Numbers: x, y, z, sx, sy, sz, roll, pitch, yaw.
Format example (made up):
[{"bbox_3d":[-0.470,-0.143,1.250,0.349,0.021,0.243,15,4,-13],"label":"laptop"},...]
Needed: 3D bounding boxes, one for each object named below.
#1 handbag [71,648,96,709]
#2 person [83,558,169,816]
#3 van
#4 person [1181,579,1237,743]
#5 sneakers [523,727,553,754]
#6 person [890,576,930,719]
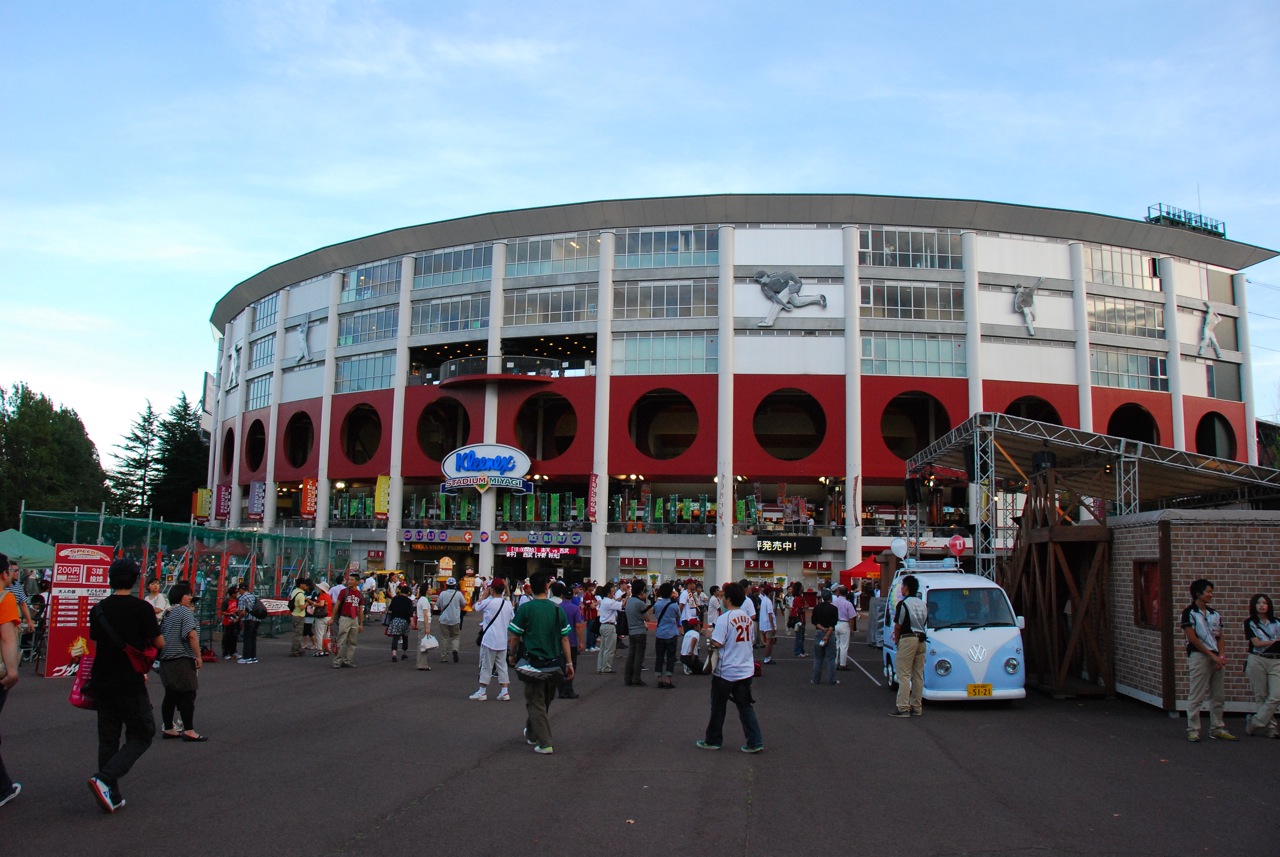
[{"bbox_3d":[-6.630,2.957,10.891,0.218,0.687,0.373,5,-9,-30],"label":"handbag"},{"bbox_3d":[-6.140,2.963,10.832,0.762,2.835,0.584,4,-9,-25],"label":"person"},{"bbox_3d":[6.754,4.227,19.853,2.262,2.758,4.478,-2,-6,4],"label":"van"},{"bbox_3d":[8.892,3.623,14.481,0.776,2.458,0.522,6,-10,-34],"label":"person"},{"bbox_3d":[-1.509,4.563,13.450,0.190,0.231,0.502,4,0,-34],"label":"sneakers"},{"bbox_3d":[5.095,4.030,17.339,0.595,2.512,0.649,-3,-9,21],"label":"person"}]
